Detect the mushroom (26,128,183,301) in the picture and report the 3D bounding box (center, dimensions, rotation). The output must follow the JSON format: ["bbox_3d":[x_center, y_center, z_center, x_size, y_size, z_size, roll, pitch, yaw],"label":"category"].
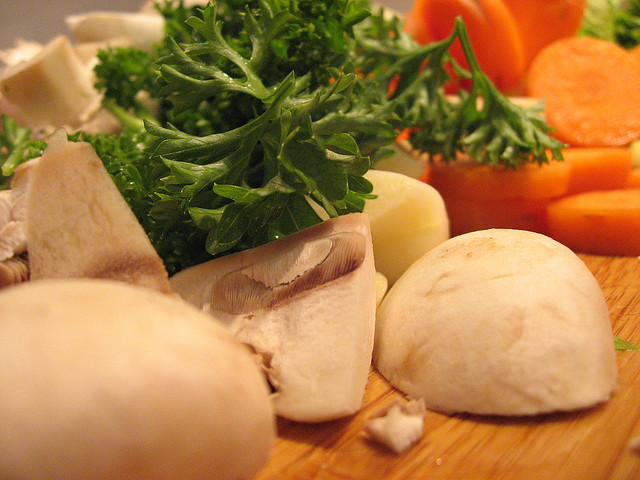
[{"bbox_3d":[-0.267,-0.019,0.710,0.141,0.156,0.148,-18,43,-7],"label":"mushroom"}]

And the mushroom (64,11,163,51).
[{"bbox_3d":[-0.422,-0.432,1.321,0.164,0.069,0.169,4,5,17],"label":"mushroom"}]

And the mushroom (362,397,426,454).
[{"bbox_3d":[0.088,0.203,0.699,0.069,0.024,0.070,-41,16,-15],"label":"mushroom"}]
